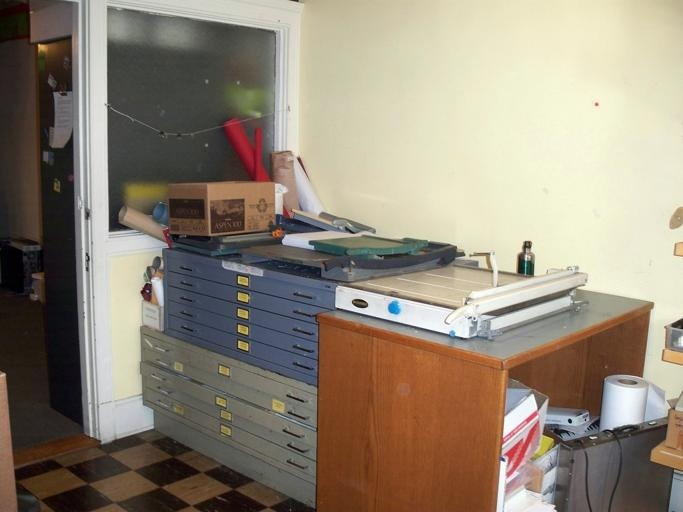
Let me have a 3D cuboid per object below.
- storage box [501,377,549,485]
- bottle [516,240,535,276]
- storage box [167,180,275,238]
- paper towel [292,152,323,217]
[{"bbox_3d":[0.740,0.725,2.509,0.165,0.350,0.499,7,14,19],"label":"storage box"},{"bbox_3d":[0.937,0.025,3.104,0.085,0.172,0.357,6,13,15],"label":"bottle"},{"bbox_3d":[-0.706,-0.371,3.460,0.507,0.273,0.359,-8,14,-44],"label":"storage box"},{"bbox_3d":[-0.228,-0.502,4.220,0.175,0.357,0.335,-6,15,-30],"label":"paper towel"}]
